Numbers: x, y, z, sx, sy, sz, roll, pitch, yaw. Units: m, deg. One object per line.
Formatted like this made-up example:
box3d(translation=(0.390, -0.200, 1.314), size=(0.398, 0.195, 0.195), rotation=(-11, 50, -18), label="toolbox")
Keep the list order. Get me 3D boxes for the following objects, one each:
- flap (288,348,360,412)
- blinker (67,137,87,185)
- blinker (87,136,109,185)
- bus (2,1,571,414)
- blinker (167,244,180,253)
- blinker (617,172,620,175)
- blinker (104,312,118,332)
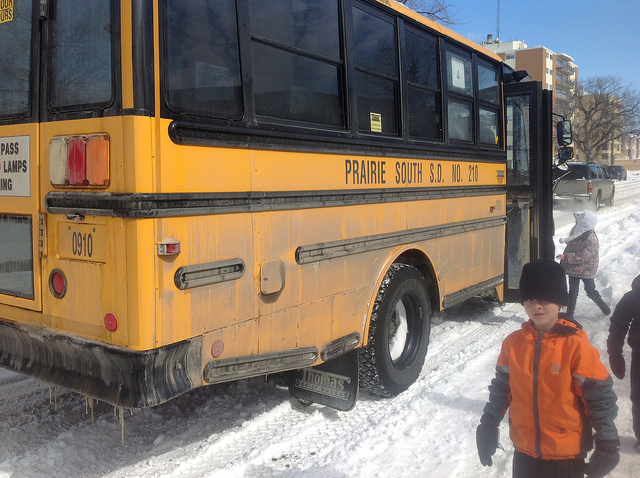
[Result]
box3d(translation=(0.051, 1.153, 4.377), size=(0.528, 0.592, 0.467), rotation=(5, 8, 37), label="flap")
box3d(translation=(-1.620, -0.519, 3.263), size=(0.145, 0.315, 0.029), rotation=(1, 2, 5), label="blinker")
box3d(translation=(-1.420, -0.510, 3.143), size=(0.256, 0.546, 0.049), rotation=(2, 2, 40), label="blinker")
box3d(translation=(-0.263, -0.395, 5.414), size=(3.375, 2.970, 5.261), rotation=(7, 12, 43), label="bus")
box3d(translation=(-0.945, 0.059, 3.149), size=(0.040, 0.062, 0.077), rotation=(-2, -1, 42), label="blinker")
box3d(translation=(30.315, -6.705, 49.708), size=(0.265, 0.246, 0.114), rotation=(-3, 10, -19), label="blinker")
box3d(translation=(-1.367, 0.540, 3.206), size=(0.132, 0.131, 0.021), rotation=(8, 12, 37), label="blinker")
